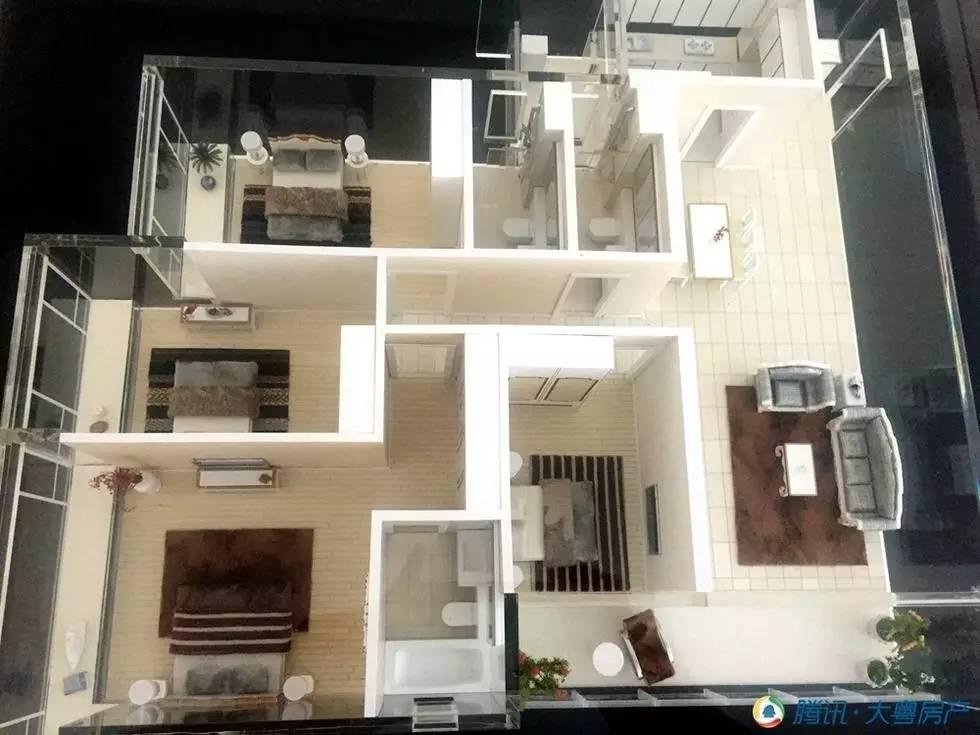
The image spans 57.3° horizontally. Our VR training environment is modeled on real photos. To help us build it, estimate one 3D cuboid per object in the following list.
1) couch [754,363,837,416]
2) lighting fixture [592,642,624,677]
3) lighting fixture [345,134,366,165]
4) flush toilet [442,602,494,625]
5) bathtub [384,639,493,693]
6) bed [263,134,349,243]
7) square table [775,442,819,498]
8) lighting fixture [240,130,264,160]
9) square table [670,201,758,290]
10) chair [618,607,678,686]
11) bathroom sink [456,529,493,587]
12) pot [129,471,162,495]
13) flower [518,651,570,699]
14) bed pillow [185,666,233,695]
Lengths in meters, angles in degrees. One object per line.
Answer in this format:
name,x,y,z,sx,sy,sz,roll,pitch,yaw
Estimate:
couch,3.235,0.227,9.584,0.739,0.521,0.463,3,74,3
lighting fixture,1.149,2.875,8.818,0.298,0.069,0.305,-4,78,-11
lighting fixture,-1.409,-2.257,9.320,0.217,0.251,0.231,-4,89,-6
flush toilet,-0.283,2.277,8.265,0.344,0.150,0.212,5,46,-8
bathtub,-0.477,2.728,8.190,0.968,0.412,0.353,6,46,-8
bed,-1.930,-1.836,9.345,0.896,0.652,1.011,-2,100,-9
square table,3.217,1.079,9.477,0.505,0.125,0.558,7,77,-6
lighting fixture,-2.390,-2.253,9.098,0.227,0.233,0.259,-19,16,-7
square table,2.566,-1.376,10.306,0.814,0.545,0.915,3,88,-2
chair,1.552,2.755,8.890,0.481,0.222,0.681,-20,74,7
bathroom sink,-0.152,1.781,8.365,0.332,0.338,0.456,5,46,-9
pot,-3.613,1.209,9.348,0.233,0.266,0.226,-1,97,-8
flower,0.485,2.921,8.374,0.537,0.270,0.434,2,80,-7
bed pillow,-2.810,3.124,8.898,0.439,0.168,0.238,5,46,-8
